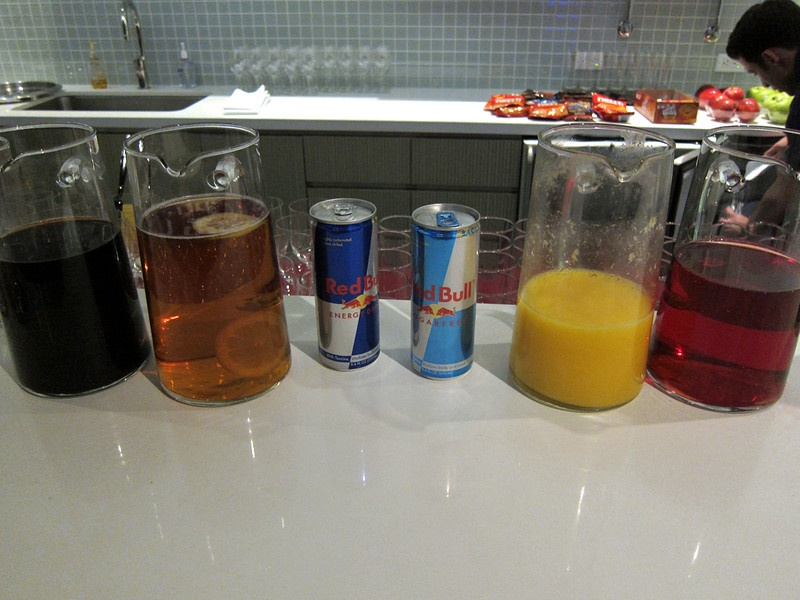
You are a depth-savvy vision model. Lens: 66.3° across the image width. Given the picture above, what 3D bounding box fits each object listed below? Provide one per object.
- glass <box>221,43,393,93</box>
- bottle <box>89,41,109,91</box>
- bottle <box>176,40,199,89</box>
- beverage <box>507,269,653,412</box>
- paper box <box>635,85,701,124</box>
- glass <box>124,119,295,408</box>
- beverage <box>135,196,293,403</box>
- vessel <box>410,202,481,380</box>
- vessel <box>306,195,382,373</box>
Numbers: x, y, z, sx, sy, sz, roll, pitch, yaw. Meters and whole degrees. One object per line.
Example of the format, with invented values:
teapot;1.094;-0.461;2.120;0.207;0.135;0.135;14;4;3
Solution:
glass;-0.407;-1.061;2.826;0.716;0.196;0.203;3;28;3
bottle;-1.439;-1.107;2.898;0.070;0.194;0.203;-12;30;-23
bottle;-1.014;-1.109;2.901;0.080;0.197;0.125;-8;29;-16
beverage;0.218;0.045;0.768;0.162;0.122;0.164;0;23;2
paper box;1.006;-0.782;2.362;0.167;0.098;0.294;1;22;4
glass;-0.226;-0.038;0.730;0.163;0.313;0.139;-12;30;-23
beverage;-0.227;-0.011;0.757;0.164;0.231;0.163;-3;13;0
vessel;0.061;-0.010;0.764;0.099;0.219;0.074;-5;28;-11
vessel;-0.068;-0.016;0.773;0.081;0.216;0.069;0;27;-1
